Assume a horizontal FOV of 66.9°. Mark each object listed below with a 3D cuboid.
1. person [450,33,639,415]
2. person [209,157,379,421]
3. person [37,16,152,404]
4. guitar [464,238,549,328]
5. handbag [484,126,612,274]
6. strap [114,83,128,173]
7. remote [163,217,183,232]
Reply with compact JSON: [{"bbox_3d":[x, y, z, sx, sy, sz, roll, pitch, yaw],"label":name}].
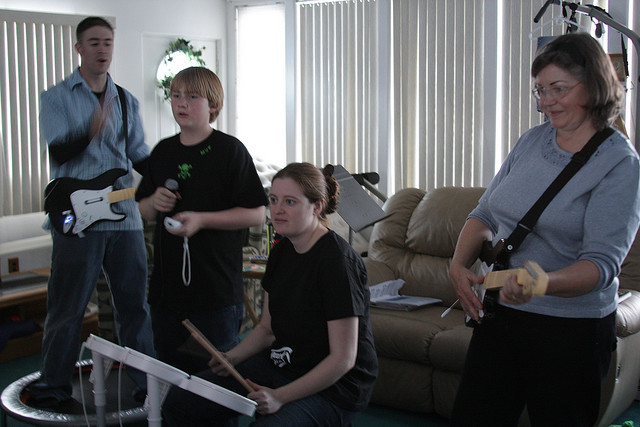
[{"bbox_3d":[0.816,0.080,1.840,0.441,1.463,0.605,-10,13,-41],"label":"person"},{"bbox_3d":[-0.235,0.353,2.583,0.961,1.513,0.938,2,-5,-23],"label":"person"},{"bbox_3d":[-1.367,-0.029,2.837,0.728,2.175,0.421,-5,10,-18],"label":"person"},{"bbox_3d":[0.671,0.225,1.768,0.051,0.201,0.384,10,1,-9],"label":"guitar"},{"bbox_3d":[0.820,-0.013,1.846,0.085,0.726,0.256,45,13,36],"label":"handbag"},{"bbox_3d":[-1.202,-0.509,2.900,0.052,0.524,0.070,-5,2,-29],"label":"strap"},{"bbox_3d":[-0.700,0.053,2.284,0.085,0.067,0.031,0,10,9],"label":"remote"}]
